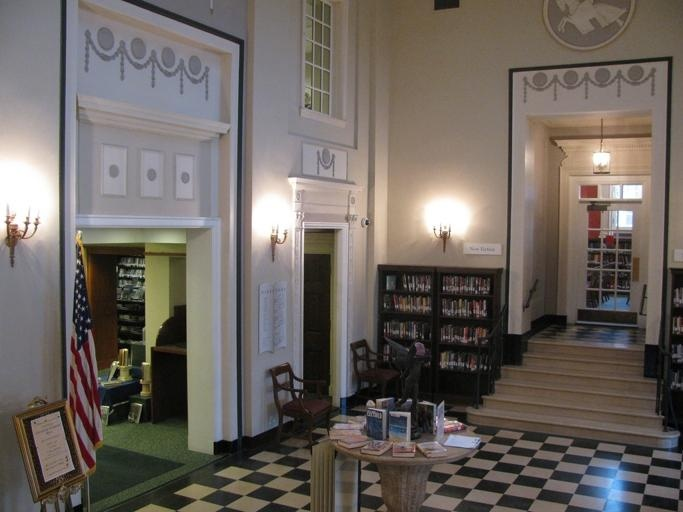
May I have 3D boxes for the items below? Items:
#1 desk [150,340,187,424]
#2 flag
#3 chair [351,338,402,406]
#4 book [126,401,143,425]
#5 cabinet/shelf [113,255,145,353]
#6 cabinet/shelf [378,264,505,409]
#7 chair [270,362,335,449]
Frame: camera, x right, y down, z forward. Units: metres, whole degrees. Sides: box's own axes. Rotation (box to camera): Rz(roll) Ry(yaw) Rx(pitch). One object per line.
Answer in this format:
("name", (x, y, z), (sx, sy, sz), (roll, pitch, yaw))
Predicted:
("desk", (-3.200, 2.336, 9.543), (0.585, 1.091, 1.134), (-1, -22, -19))
("flag", (-2.881, 1.085, 5.830), (0.341, 2.672, 0.499), (0, 1, -28))
("chair", (0.699, 2.280, 10.090), (0.945, 1.243, 0.907), (-1, -2, 2))
("book", (-3.570, 2.713, 8.986), (0.296, 0.421, 0.041), (2, -11, 30))
("cabinet/shelf", (-5.257, 1.058, 12.539), (0.361, 2.430, 1.000), (8, 11, 14))
("cabinet/shelf", (1.966, 1.461, 9.493), (2.399, 2.816, 0.688), (1, 0, 22))
("chair", (-0.557, 2.343, 8.699), (1.036, 1.590, 1.042), (-1, 0, 28))
